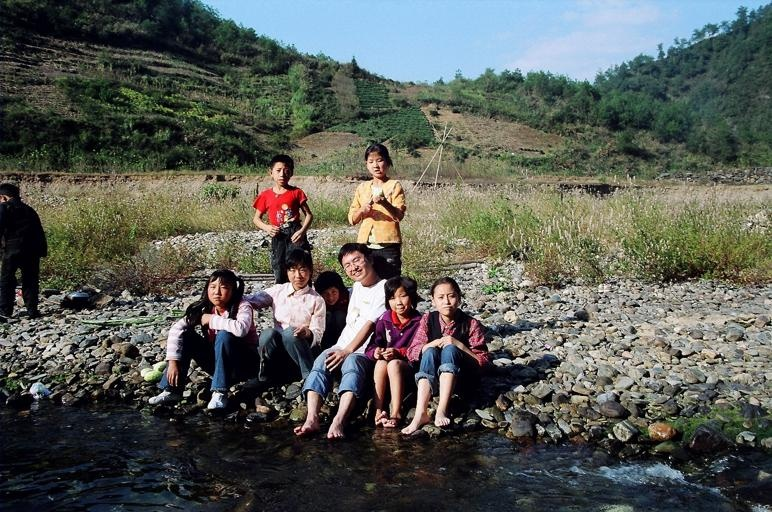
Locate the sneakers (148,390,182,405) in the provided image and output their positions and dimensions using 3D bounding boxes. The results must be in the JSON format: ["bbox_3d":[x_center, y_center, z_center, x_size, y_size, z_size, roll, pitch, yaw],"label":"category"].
[{"bbox_3d":[-2.329,1.520,6.039,0.389,0.162,0.137,-1,37,-10],"label":"sneakers"}]

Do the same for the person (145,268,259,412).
[{"bbox_3d":[-1.866,0.874,6.035,0.916,1.439,0.622,3,11,17],"label":"person"}]

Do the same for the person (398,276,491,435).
[{"bbox_3d":[0.604,1.105,5.632,0.806,1.132,0.710,1,11,8],"label":"person"}]
